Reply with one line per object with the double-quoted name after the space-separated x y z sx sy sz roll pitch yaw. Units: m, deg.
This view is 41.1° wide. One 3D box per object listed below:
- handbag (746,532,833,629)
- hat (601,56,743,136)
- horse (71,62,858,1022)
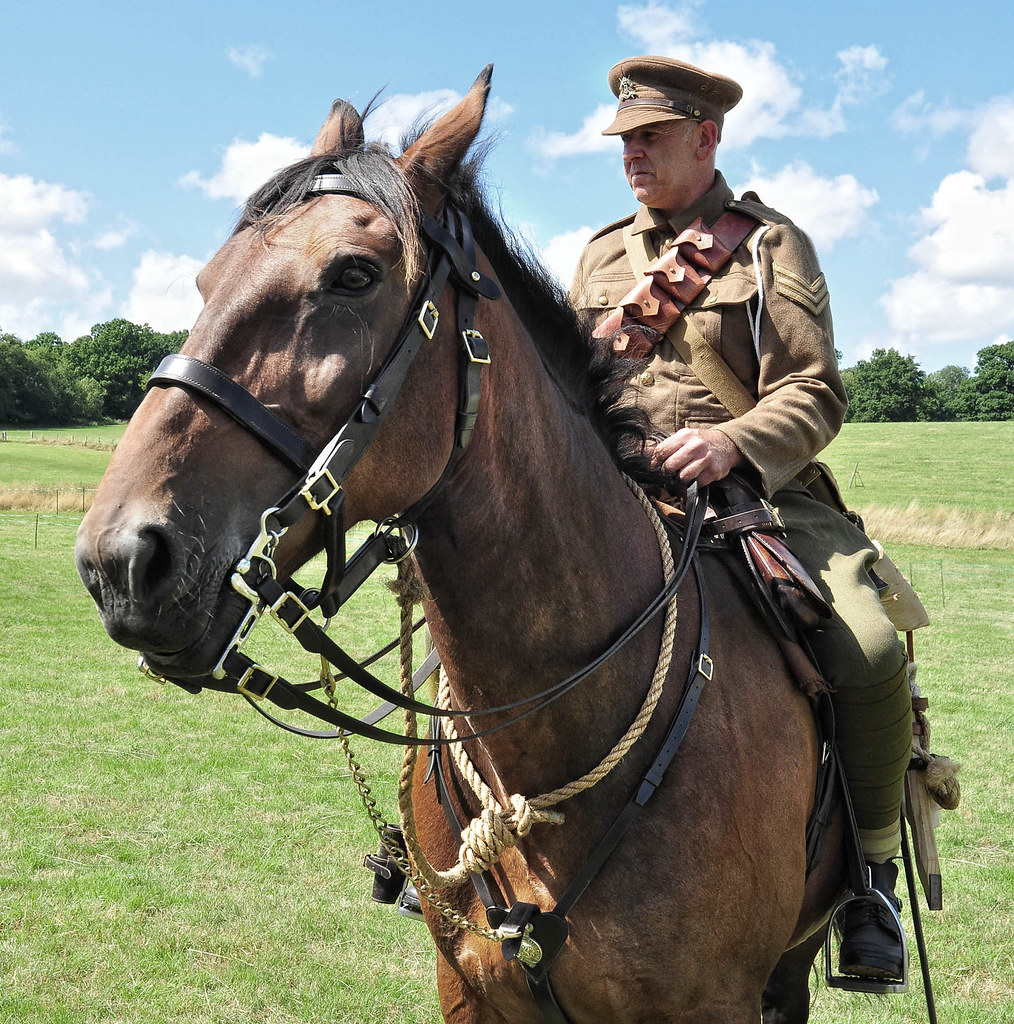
0.917 0.231 4.520 0.193 0.333 0.100 -20 -23 -27 "handbag"
0.655 -1.658 5.456 0.534 0.265 0.592 4 11 42 "hat"
-0.072 0.196 3.997 2.312 2.895 0.739 1 5 -20 "horse"
